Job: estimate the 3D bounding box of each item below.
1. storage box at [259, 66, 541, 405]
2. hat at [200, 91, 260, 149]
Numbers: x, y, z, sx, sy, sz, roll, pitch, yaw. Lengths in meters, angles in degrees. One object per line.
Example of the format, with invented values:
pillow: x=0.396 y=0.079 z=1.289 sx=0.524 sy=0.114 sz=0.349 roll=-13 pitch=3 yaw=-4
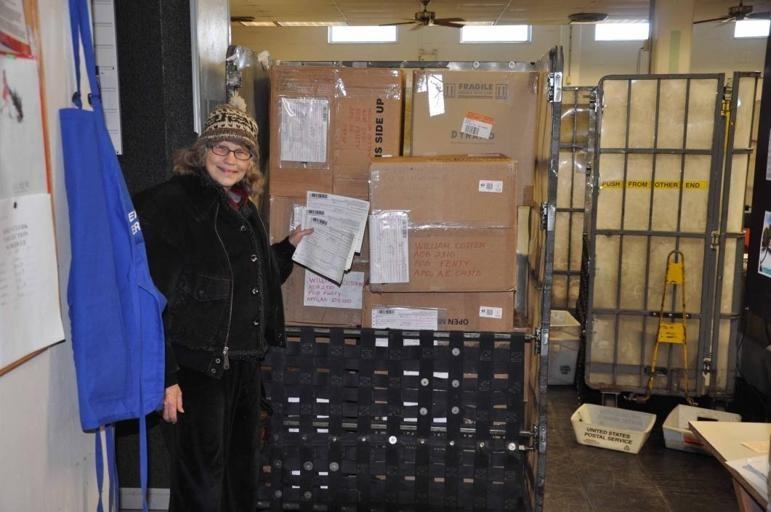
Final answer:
storage box: x=0.137 y=-0.277 z=4.130 sx=1.508 sy=1.366 sz=0.906 roll=0 pitch=0 yaw=3
hat: x=-0.709 y=-0.646 z=3.132 sx=0.205 sy=0.225 sz=0.229 roll=13 pitch=11 yaw=15
